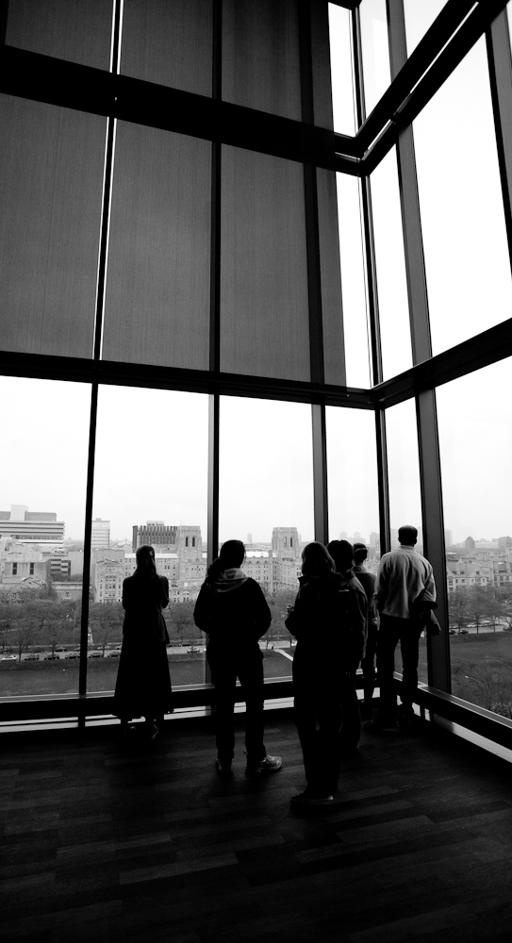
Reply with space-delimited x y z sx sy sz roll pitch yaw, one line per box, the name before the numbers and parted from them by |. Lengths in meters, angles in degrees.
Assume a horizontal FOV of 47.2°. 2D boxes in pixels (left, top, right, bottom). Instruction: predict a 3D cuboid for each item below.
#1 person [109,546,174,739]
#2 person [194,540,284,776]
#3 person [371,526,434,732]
person | -0.766 1.101 4.013 0.379 1.144 0.130 2 -4 -24
person | -0.105 1.077 3.531 0.318 1.555 0.370 -3 9 5
person | 1.070 1.204 4.172 0.444 1.285 0.247 -2 -4 26
